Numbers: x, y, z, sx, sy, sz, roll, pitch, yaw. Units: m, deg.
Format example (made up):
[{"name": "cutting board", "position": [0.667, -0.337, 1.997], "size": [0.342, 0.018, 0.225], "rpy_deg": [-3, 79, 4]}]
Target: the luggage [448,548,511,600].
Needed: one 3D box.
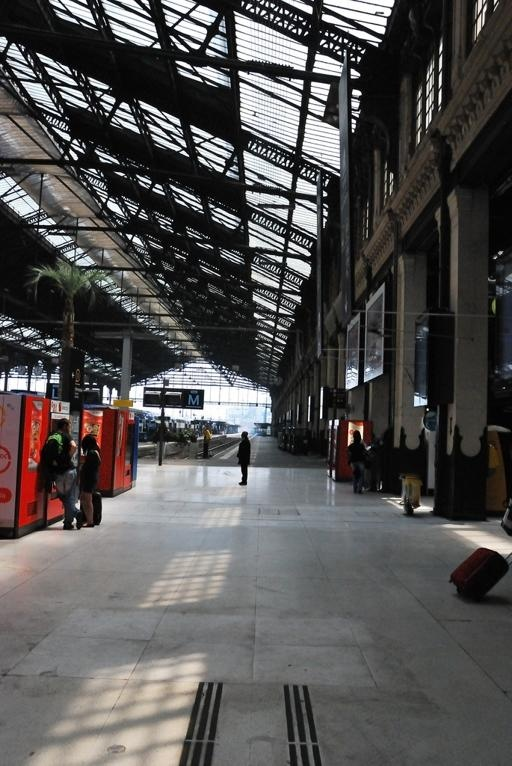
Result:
[{"name": "luggage", "position": [2.370, 2.038, 5.425], "size": [0.391, 0.326, 0.606], "rpy_deg": [-38, 5, 30]}]

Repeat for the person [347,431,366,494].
[{"name": "person", "position": [3.066, 2.394, 15.476], "size": [0.465, 1.893, 1.537], "rpy_deg": [0, -6, 13]}]

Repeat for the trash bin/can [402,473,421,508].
[{"name": "trash bin/can", "position": [3.509, 2.450, 11.588], "size": [0.340, 0.720, 0.453], "rpy_deg": [0, -6, 12]}]
